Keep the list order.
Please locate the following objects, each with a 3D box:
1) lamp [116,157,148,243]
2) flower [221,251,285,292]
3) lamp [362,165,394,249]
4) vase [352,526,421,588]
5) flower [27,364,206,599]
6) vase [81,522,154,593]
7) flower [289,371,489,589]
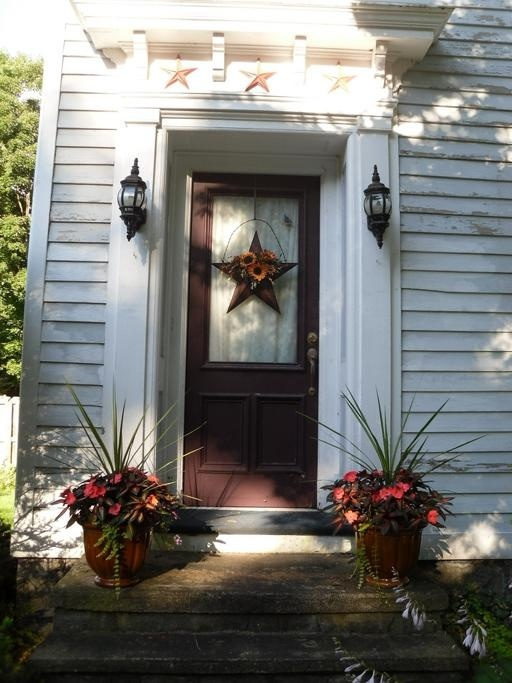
[{"bbox_3d":[-0.633,-0.699,3.702,0.127,0.309,0.204,-1,-3,11],"label":"lamp"},{"bbox_3d":[-0.014,-0.437,4.157,0.280,0.283,0.093,42,-16,30],"label":"flower"},{"bbox_3d":[0.645,-0.724,3.749,0.170,0.402,0.153,-3,3,3],"label":"lamp"},{"bbox_3d":[0.594,0.961,3.156,0.295,0.209,0.282,0,-12,1],"label":"vase"},{"bbox_3d":[-0.547,0.688,3.566,0.872,1.037,0.872,1,-6,12],"label":"flower"},{"bbox_3d":[-0.610,0.938,3.090,0.288,0.206,0.278,9,-15,-35],"label":"vase"},{"bbox_3d":[0.636,0.703,3.476,0.704,0.860,0.803,-1,-3,15],"label":"flower"}]
